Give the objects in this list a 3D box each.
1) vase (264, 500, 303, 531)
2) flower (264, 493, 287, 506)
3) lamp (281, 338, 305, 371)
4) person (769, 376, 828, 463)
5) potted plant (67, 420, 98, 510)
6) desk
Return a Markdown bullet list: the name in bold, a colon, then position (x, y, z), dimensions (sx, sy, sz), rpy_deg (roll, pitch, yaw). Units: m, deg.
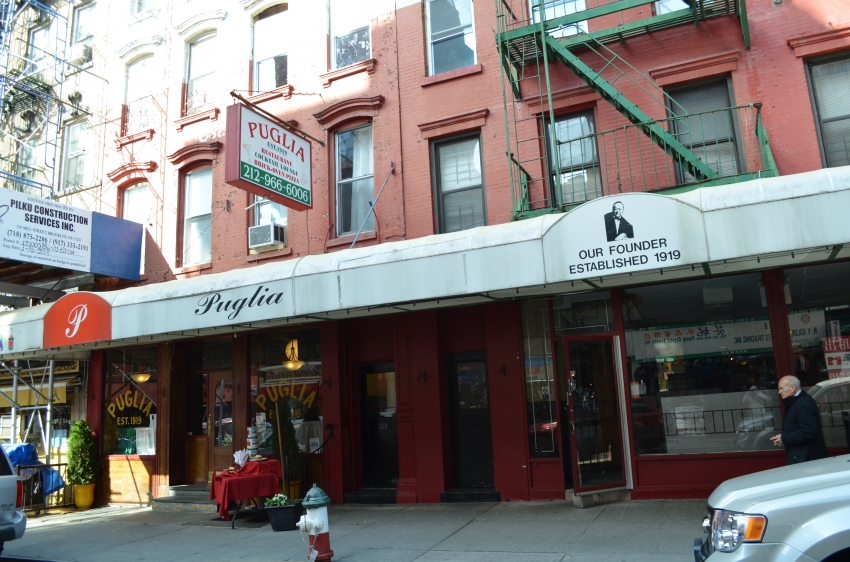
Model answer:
- **vase**: position (-2.881, 4.847, 16.428), dimensions (0.572, 0.430, 0.652), rpy_deg (-2, -14, 5)
- **flower**: position (-3.031, 4.578, 16.625), dimensions (0.335, 0.126, 0.329), rpy_deg (-3, -9, 14)
- **lamp**: position (-3.140, 1.820, 19.361), dimensions (0.719, 0.946, 0.695), rpy_deg (0, -19, -4)
- **person**: position (6.249, 2.354, 13.433), dimensions (0.802, 1.077, 0.789), rpy_deg (-5, 2, 22)
- **potted plant**: position (-8.726, 4.720, 20.419), dimensions (0.747, 2.378, 0.461), rpy_deg (-6, 2, -23)
- **desk**: position (-4.030, 4.583, 17.605), dimensions (1.607, 0.856, 1.656), rpy_deg (1, -7, -25)
